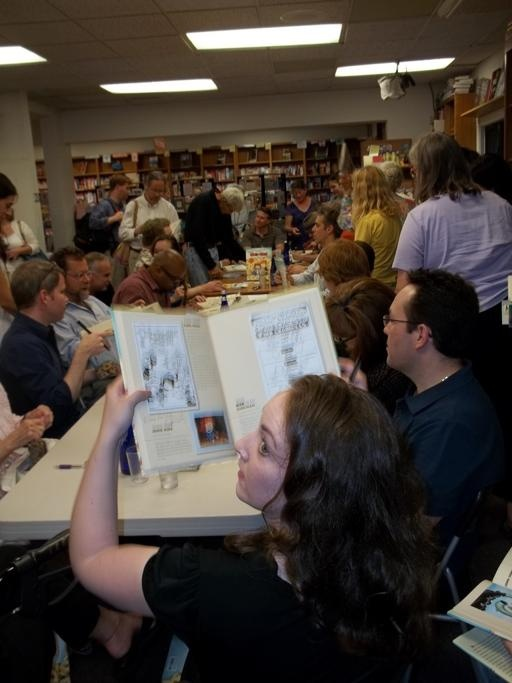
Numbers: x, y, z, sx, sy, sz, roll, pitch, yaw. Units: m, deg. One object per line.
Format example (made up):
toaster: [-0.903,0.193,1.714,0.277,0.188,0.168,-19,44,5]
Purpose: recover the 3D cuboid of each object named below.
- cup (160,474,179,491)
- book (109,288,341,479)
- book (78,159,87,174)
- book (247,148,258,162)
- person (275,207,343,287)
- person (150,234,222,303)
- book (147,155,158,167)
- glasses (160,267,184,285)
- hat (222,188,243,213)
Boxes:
cup: [-0.244,0.390,1.416,0.043,0.034,0.046,0,-2,0]
book: [-0.102,0.070,1.157,0.616,0.410,0.200,-10,-2,-24]
book: [-3.416,-3.416,10.052,0.269,0.254,0.061,2,-5,8]
book: [-0.075,-3.741,10.268,0.298,0.268,0.071,-1,0,-1]
person: [0.643,-1.655,7.868,0.539,1.403,0.801,11,35,24]
person: [-0.592,-0.606,4.351,0.550,0.297,0.858,-5,-21,1]
book: [-2.020,-3.531,10.022,0.242,0.321,0.172,-1,4,-8]
glasses: [-0.543,-0.443,3.502,0.097,0.100,0.171,-3,15,23]
hat: [-0.241,-1.491,5.361,0.205,0.238,0.249,-5,41,-6]
